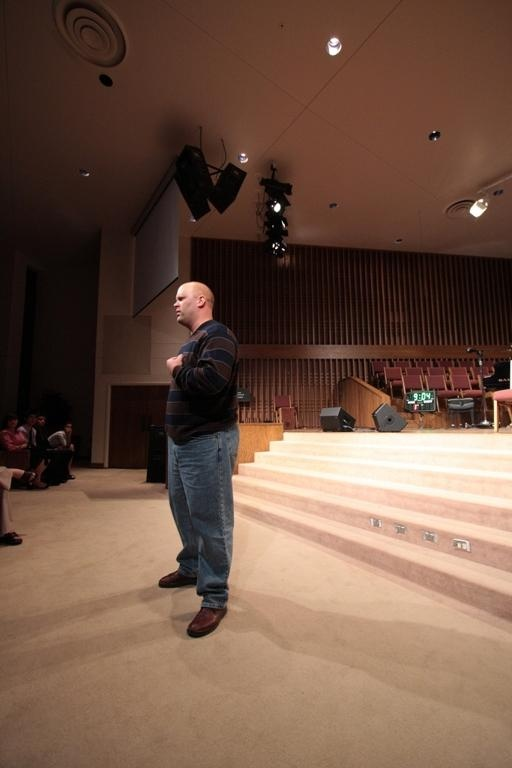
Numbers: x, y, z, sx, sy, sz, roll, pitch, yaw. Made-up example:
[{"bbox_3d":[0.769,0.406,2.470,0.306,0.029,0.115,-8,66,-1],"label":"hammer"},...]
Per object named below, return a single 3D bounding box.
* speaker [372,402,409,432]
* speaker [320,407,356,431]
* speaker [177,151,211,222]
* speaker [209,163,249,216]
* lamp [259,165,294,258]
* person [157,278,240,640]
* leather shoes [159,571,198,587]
[{"bbox_3d":[1.531,0.396,5.696,0.327,0.336,0.325,-28,-4,1],"label":"speaker"},{"bbox_3d":[1.021,0.432,6.111,0.296,0.278,0.372,-12,-1,-23],"label":"speaker"},{"bbox_3d":[-0.751,-2.415,5.963,0.237,0.691,0.687,-16,-38,-12],"label":"speaker"},{"bbox_3d":[-0.357,-2.354,5.919,0.409,0.522,0.418,0,-4,-6],"label":"speaker"},{"bbox_3d":[0.280,-2.536,7.180,0.413,1.273,0.210,0,5,-13],"label":"lamp"},{"bbox_3d":[-0.220,0.226,1.974,0.311,1.350,0.407,3,-5,-42],"label":"person"},{"bbox_3d":[-0.361,0.901,2.253,0.192,0.085,0.073,5,-12,-7],"label":"leather shoes"}]
